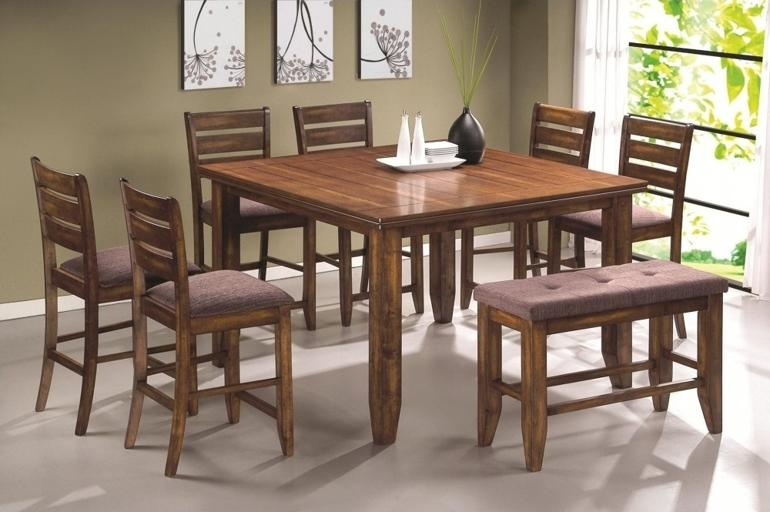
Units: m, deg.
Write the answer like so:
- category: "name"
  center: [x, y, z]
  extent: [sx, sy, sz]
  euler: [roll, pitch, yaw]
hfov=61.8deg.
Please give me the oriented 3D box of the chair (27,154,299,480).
- category: "chair"
  center: [-1.144, 0.332, 3.259]
  extent: [0.688, 1.165, 1.401]
  euler: [-14, 23, -42]

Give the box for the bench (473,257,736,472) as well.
- category: "bench"
  center: [1.029, 0.540, 3.006]
  extent: [0.861, 0.553, 0.375]
  euler: [-7, 17, -21]
